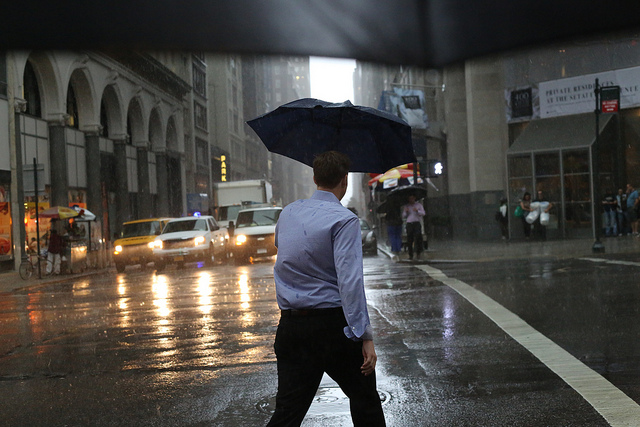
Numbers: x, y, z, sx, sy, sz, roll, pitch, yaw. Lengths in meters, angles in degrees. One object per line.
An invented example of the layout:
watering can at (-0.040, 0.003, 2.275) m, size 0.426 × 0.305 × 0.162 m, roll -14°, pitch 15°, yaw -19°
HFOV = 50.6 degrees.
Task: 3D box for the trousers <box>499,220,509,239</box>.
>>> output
trousers at (8.970, 0.786, 32.587) m, size 0.350 × 0.808 × 0.672 m, roll -2°, pitch -4°, yaw 16°

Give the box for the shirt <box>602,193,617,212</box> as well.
shirt at (12.146, -0.476, 28.272) m, size 0.457 × 0.729 × 0.955 m, roll -2°, pitch -4°, yaw 14°

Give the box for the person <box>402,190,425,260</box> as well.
person at (3.248, 0.402, 23.323) m, size 0.680 × 2.303 × 1.317 m, roll -1°, pitch -4°, yaw 7°

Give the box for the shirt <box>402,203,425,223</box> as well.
shirt at (3.227, -0.061, 23.218) m, size 0.843 × 0.883 × 0.538 m, roll 2°, pitch -15°, yaw 2°

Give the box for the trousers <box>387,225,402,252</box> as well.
trousers at (2.765, 0.905, 24.689) m, size 0.445 × 0.948 × 0.417 m, roll 0°, pitch -4°, yaw -6°

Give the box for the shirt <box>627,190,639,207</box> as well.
shirt at (12.626, -0.642, 27.204) m, size 0.292 × 0.565 × 0.520 m, roll 13°, pitch -13°, yaw -19°

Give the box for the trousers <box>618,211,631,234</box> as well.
trousers at (12.722, 0.362, 28.169) m, size 0.421 × 0.865 × 0.818 m, roll -3°, pitch -5°, yaw 26°

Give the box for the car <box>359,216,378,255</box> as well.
car at (2.172, 1.007, 30.473) m, size 1.026 × 1.129 × 2.437 m, roll 0°, pitch -6°, yaw 1°

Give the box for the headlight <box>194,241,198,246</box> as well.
headlight at (-4.985, 1.184, 27.413) m, size 0.177 × 0.180 × 0.061 m, roll 1°, pitch -4°, yaw -18°

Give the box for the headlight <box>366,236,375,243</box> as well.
headlight at (2.252, 1.102, 29.421) m, size 0.268 × 0.068 × 0.267 m, roll -1°, pitch -23°, yaw -8°

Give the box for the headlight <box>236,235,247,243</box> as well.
headlight at (-3.098, 0.977, 26.909) m, size 0.420 × 0.302 × 0.091 m, roll -2°, pitch -4°, yaw 16°

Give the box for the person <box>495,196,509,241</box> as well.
person at (8.808, 0.211, 32.463) m, size 0.559 × 2.016 × 1.517 m, roll -2°, pitch -4°, yaw 16°

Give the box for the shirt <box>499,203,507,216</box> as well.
shirt at (8.777, -0.235, 32.034) m, size 0.314 × 0.595 × 0.228 m, roll -1°, pitch -4°, yaw 5°

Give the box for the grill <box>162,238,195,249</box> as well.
grill at (-5.698, 1.177, 27.249) m, size 1.236 × 0.426 × 0.109 m, roll 0°, pitch -4°, yaw -12°

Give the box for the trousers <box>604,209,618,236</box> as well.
trousers at (12.397, 0.366, 28.615) m, size 0.458 × 1.047 × 0.925 m, roll -3°, pitch -5°, yaw 25°

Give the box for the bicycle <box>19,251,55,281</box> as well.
bicycle at (-10.741, 2.036, 25.916) m, size 0.788 × 1.049 × 1.639 m, roll -5°, pitch -10°, yaw 33°

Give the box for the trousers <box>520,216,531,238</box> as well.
trousers at (9.353, 0.554, 30.643) m, size 0.420 × 0.988 × 1.072 m, roll -2°, pitch -4°, yaw 17°

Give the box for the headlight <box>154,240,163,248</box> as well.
headlight at (-6.475, 1.200, 27.154) m, size 0.376 × 0.281 × 0.086 m, roll -2°, pitch -4°, yaw 19°

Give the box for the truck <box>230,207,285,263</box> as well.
truck at (-2.668, 0.872, 28.815) m, size 1.832 × 1.927 × 3.875 m, roll -1°, pitch -5°, yaw -1°

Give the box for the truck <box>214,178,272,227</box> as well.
truck at (-4.644, -0.852, 38.272) m, size 1.845 × 2.078 × 3.790 m, roll 0°, pitch -1°, yaw 10°

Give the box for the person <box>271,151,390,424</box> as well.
person at (0.040, 0.660, 6.156) m, size 0.954 × 2.460 × 0.367 m, roll -2°, pitch -4°, yaw 20°

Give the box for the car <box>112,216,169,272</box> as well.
car at (-7.857, 1.208, 29.822) m, size 1.434 × 1.403 × 2.605 m, roll -2°, pitch -4°, yaw 6°

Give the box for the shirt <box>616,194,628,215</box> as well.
shirt at (12.441, -0.425, 27.749) m, size 0.412 × 0.763 × 0.762 m, roll -2°, pitch -5°, yaw 22°

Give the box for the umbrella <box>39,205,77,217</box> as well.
umbrella at (-10.479, -0.088, 26.982) m, size 0.791 × 0.284 × 0.832 m, roll 3°, pitch -1°, yaw 6°

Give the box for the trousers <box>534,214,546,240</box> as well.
trousers at (9.931, 0.631, 30.533) m, size 0.433 × 1.075 × 1.659 m, roll -1°, pitch -4°, yaw 10°

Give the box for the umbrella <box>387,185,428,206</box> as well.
umbrella at (3.299, -0.722, 25.306) m, size 1.709 × 0.834 × 0.941 m, roll 4°, pitch -6°, yaw -44°

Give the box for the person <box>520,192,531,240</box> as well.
person at (9.334, 0.063, 30.536) m, size 0.458 × 2.132 × 1.052 m, roll -2°, pitch -4°, yaw 16°

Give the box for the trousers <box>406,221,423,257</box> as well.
trousers at (3.295, 0.866, 23.452) m, size 0.539 × 1.220 × 0.511 m, roll 0°, pitch -4°, yaw -5°

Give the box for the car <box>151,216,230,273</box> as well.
car at (-5.589, 1.169, 28.911) m, size 2.830 × 2.388 × 3.473 m, roll 0°, pitch -4°, yaw -11°
